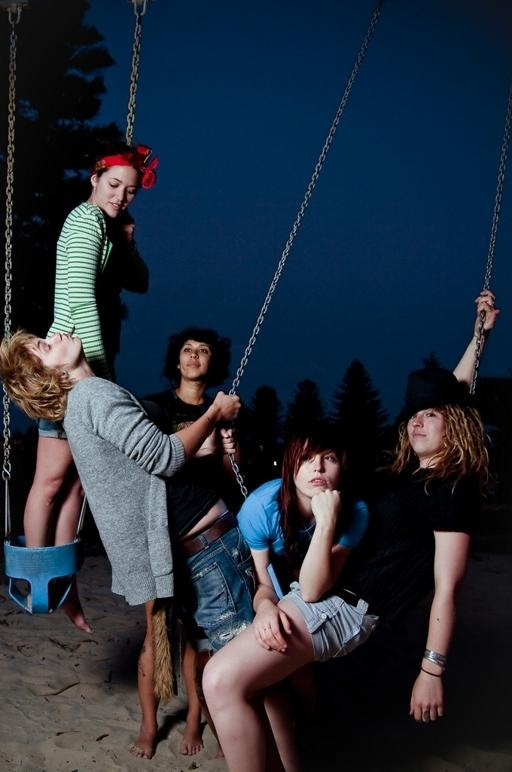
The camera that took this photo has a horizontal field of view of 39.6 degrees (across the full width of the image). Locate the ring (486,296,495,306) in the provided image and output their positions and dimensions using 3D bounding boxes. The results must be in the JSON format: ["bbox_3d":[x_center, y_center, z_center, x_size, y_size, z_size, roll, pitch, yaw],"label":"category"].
[{"bbox_3d":[1.071,-0.392,3.257,0.049,0.044,0.019,-21,-42,32],"label":"ring"}]

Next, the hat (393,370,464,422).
[{"bbox_3d":[0.688,0.001,2.872,0.277,0.133,0.324,-1,22,1],"label":"hat"}]

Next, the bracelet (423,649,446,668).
[{"bbox_3d":[0.617,0.944,2.496,0.070,0.033,0.067,21,-13,13],"label":"bracelet"}]

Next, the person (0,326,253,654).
[{"bbox_3d":[-0.495,0.369,2.632,0.782,1.151,0.532,-1,-2,36],"label":"person"}]

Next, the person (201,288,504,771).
[{"bbox_3d":[0.414,0.622,2.714,1.332,1.585,0.645,1,-2,-16],"label":"person"}]

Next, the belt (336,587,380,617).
[{"bbox_3d":[0.371,0.792,2.631,0.139,0.049,0.092,37,3,33],"label":"belt"}]
